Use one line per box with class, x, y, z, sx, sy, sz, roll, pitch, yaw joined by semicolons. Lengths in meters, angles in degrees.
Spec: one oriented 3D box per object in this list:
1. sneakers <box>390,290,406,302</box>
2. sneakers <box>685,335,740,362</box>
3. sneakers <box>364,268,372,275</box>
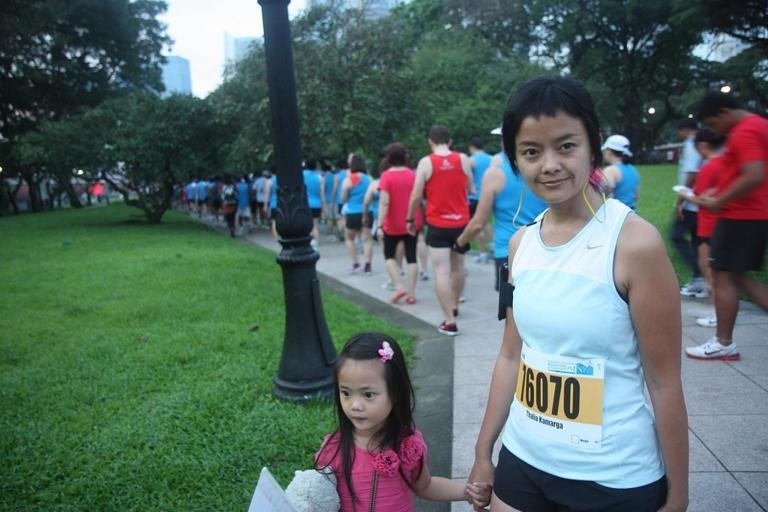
sneakers;0.212;0.598;9.245;0.127;0.274;0.117;26;35;-28
sneakers;3.414;0.961;6.521;0.555;0.276;0.221;1;2;13
sneakers;-0.301;0.292;11.484;0.116;0.153;0.346;0;-3;-17
